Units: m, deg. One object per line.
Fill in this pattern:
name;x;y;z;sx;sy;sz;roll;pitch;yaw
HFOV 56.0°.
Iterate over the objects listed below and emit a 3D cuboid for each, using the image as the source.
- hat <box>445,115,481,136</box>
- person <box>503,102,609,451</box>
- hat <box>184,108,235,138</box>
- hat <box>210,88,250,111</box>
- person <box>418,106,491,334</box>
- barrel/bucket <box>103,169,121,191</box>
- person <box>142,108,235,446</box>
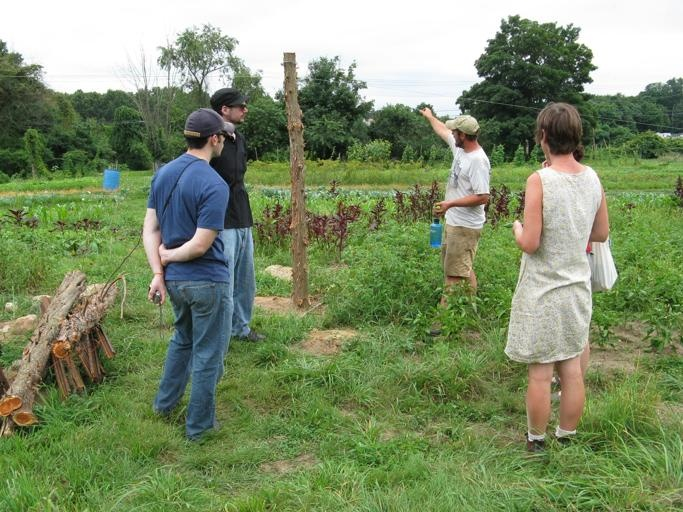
hat;1.323;-1.431;7.014;0.355;0.223;0.392;2;9;8
person;1.748;0.392;5.272;0.765;2.417;0.427;1;9;4
hat;-1.119;-1.127;5.486;0.333;0.180;0.232;-16;33;-43
hat;-1.167;-1.654;6.784;0.379;0.268;0.261;-2;9;-18
person;1.357;-0.521;7.283;0.615;2.105;1.057;2;9;12
barrel/bucket;-9.743;-3.235;27.207;0.634;0.825;1.708;-3;10;-21
person;-1.319;0.377;5.563;0.751;2.412;0.372;4;9;22
